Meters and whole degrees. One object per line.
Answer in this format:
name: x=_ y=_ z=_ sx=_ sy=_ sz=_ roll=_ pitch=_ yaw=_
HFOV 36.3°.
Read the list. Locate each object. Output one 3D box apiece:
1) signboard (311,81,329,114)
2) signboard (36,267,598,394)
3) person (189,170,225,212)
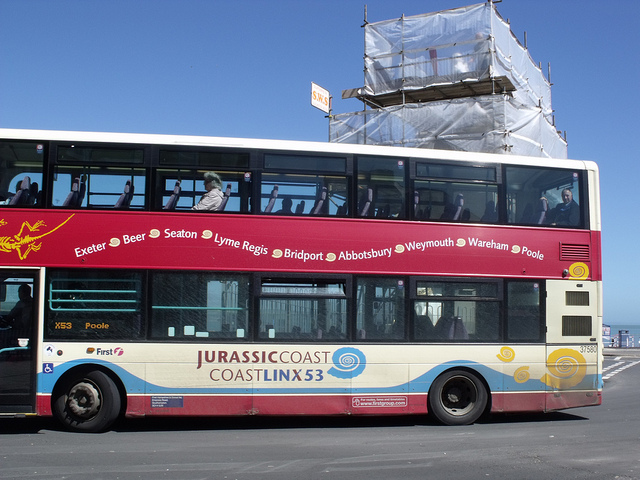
signboard: x=0.015 y=-5.520 z=37.774 sx=0.650 sy=1.152 sz=1.962 roll=1 pitch=3 yaw=2
signboard: x=-0.411 y=1.799 z=20.404 sx=13.278 sy=3.134 sz=2.069 roll=0 pitch=-7 yaw=-12
person: x=-2.222 y=-0.941 z=19.504 sx=0.652 sy=0.832 sz=0.872 roll=1 pitch=7 yaw=-13
